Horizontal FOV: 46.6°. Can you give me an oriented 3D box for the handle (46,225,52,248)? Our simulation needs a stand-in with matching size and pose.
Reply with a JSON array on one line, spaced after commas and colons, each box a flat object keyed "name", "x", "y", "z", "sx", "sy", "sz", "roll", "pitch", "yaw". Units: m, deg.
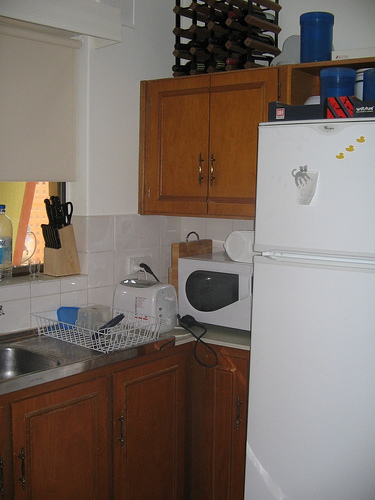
[{"name": "handle", "x": -0.636, "y": -0.063, "z": 1.975, "sx": 0.020, "sy": 0.103, "sz": 0.022, "roll": 0, "pitch": 12, "yaw": 17}]

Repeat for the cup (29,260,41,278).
[{"name": "cup", "x": -0.701, "y": 0.086, "z": 1.969, "sx": 0.059, "sy": 0.070, "sz": 0.045, "roll": 4, "pitch": -20, "yaw": -19}]

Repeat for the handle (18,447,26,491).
[{"name": "handle", "x": -0.493, "y": 0.649, "z": 1.286, "sx": 0.009, "sy": 0.138, "sz": 0.023, "roll": 3, "pitch": 8, "yaw": 26}]

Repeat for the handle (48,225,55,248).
[{"name": "handle", "x": -0.619, "y": -0.059, "z": 1.965, "sx": 0.019, "sy": 0.107, "sz": 0.019, "roll": -7, "pitch": 6, "yaw": -15}]

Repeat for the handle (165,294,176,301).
[{"name": "handle", "x": -0.083, "y": 0.209, "z": 1.921, "sx": 0.032, "sy": 0.016, "sz": 0.042, "roll": 0, "pitch": 3, "yaw": -5}]

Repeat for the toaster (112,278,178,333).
[{"name": "toaster", "x": -0.211, "y": 0.267, "z": 2.002, "sx": 0.308, "sy": 0.233, "sz": 0.174, "roll": 0, "pitch": -2, "yaw": 33}]

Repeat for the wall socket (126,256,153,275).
[{"name": "wall socket", "x": -0.255, "y": 0.077, "z": 2.285, "sx": 0.037, "sy": 0.096, "sz": 0.207, "roll": 2, "pitch": 8, "yaw": 25}]

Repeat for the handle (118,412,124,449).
[{"name": "handle", "x": -0.247, "y": 0.662, "z": 1.596, "sx": 0.007, "sy": 0.137, "sz": 0.030, "roll": 5, "pitch": 9, "yaw": 37}]

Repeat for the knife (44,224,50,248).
[{"name": "knife", "x": -0.639, "y": -0.066, "z": 1.981, "sx": 0.018, "sy": 0.101, "sz": 0.018, "roll": -19, "pitch": 21, "yaw": -38}]

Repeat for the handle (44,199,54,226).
[{"name": "handle", "x": -0.633, "y": -0.170, "z": 1.973, "sx": 0.018, "sy": 0.118, "sz": 0.060, "roll": -8, "pitch": 10, "yaw": -44}]

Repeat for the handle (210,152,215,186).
[{"name": "handle", "x": 0.114, "y": -0.372, "z": 2.000, "sx": 0.024, "sy": 0.143, "sz": 0.008, "roll": 1, "pitch": 8, "yaw": 18}]

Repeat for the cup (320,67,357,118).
[{"name": "cup", "x": 0.558, "y": -0.581, "z": 1.622, "sx": 0.146, "sy": 0.159, "sz": 0.148, "roll": -3, "pitch": 12, "yaw": 1}]

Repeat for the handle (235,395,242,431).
[{"name": "handle", "x": 0.212, "y": 0.671, "z": 1.795, "sx": 0.022, "sy": 0.142, "sz": 0.017, "roll": 0, "pitch": 7, "yaw": 7}]

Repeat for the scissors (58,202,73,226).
[{"name": "scissors", "x": -0.554, "y": -0.164, "z": 1.980, "sx": 0.040, "sy": 0.104, "sz": 0.070, "roll": 5, "pitch": 9, "yaw": 37}]

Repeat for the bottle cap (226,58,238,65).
[{"name": "bottle cap", "x": 0.205, "y": -0.850, "z": 1.972, "sx": 0.057, "sy": 0.033, "sz": 0.022, "roll": -3, "pitch": 8, "yaw": -13}]

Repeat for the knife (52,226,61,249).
[{"name": "knife", "x": -0.591, "y": -0.058, "z": 1.947, "sx": 0.014, "sy": 0.096, "sz": 0.045, "roll": -8, "pitch": 10, "yaw": -44}]

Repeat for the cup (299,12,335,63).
[{"name": "cup", "x": 0.527, "y": -0.845, "z": 1.749, "sx": 0.134, "sy": 0.202, "sz": 0.119, "roll": 0, "pitch": 7, "yaw": 7}]

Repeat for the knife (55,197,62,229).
[{"name": "knife", "x": -0.587, "y": -0.171, "z": 1.962, "sx": 0.034, "sy": 0.130, "sz": 0.035, "roll": -5, "pitch": -4, "yaw": -24}]

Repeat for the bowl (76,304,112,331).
[{"name": "bowl", "x": -0.390, "y": 0.279, "z": 1.789, "sx": 0.143, "sy": 0.082, "sz": 0.103, "roll": -3, "pitch": 8, "yaw": -16}]

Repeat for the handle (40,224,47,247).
[{"name": "handle", "x": -0.660, "y": -0.065, "z": 1.992, "sx": 0.023, "sy": 0.101, "sz": 0.027, "roll": 2, "pitch": 17, "yaw": 34}]
